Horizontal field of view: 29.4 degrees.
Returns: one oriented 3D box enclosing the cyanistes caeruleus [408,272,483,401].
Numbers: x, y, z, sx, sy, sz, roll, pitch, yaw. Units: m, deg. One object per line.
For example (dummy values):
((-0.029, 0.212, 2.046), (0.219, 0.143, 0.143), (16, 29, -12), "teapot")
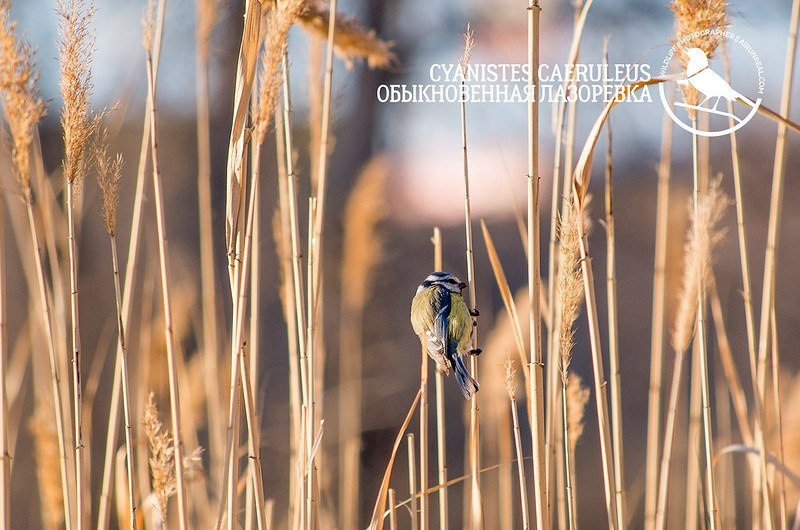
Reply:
((0.226, 0.314, 7.538), (0.374, 0.731, 0.273), (18, -39, -14), "cyanistes caeruleus")
